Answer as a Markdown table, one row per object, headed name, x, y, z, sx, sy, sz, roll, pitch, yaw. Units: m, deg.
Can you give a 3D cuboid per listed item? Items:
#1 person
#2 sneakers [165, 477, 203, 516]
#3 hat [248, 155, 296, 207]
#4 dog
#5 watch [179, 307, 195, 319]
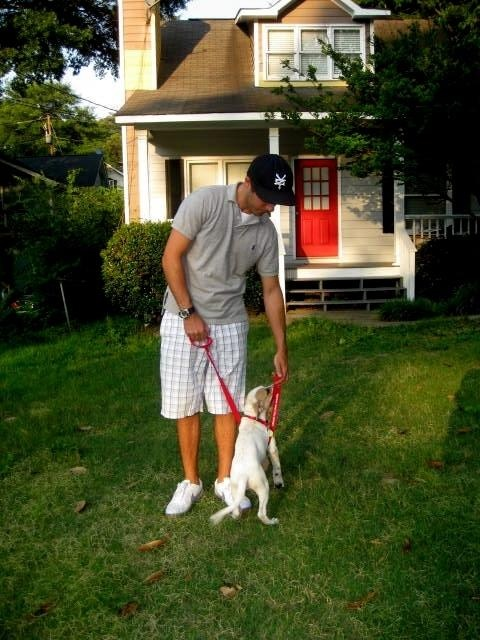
| name | x | y | z | sx | sy | sz | roll | pitch | yaw |
| --- | --- | --- | --- | --- | --- | --- | --- | --- | --- |
| person | -0.089 | 0.076 | 3.398 | 0.598 | 1.919 | 0.517 | 3 | 8 | -9 |
| sneakers | -0.297 | 0.953 | 3.487 | 0.085 | 0.122 | 0.266 | 8 | 18 | 19 |
| hat | 0.169 | -0.659 | 3.027 | 0.214 | 0.256 | 0.242 | -8 | 9 | -34 |
| dog | 0.058 | 0.713 | 3.210 | 0.218 | 0.522 | 0.950 | -4 | 19 | 14 |
| watch | -0.259 | -0.034 | 3.157 | 0.068 | 0.049 | 0.065 | -5 | -6 | -4 |
